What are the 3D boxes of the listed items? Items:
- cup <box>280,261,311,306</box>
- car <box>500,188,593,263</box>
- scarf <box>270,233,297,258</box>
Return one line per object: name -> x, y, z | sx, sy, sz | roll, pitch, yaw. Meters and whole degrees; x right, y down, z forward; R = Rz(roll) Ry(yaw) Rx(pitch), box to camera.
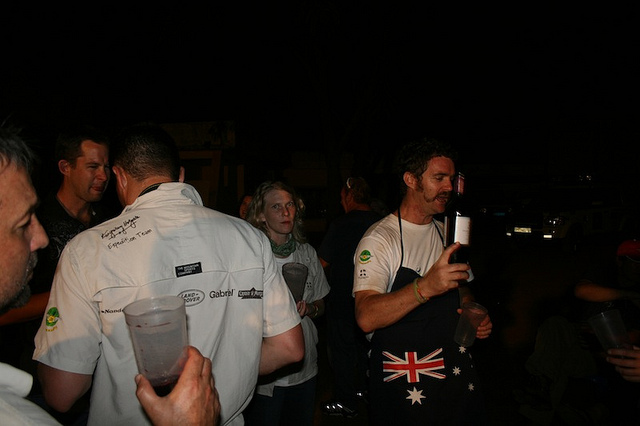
cup -> -0.360, 0.779, 5.224 | 0.400, 0.435, 0.395 | -7, -6, -1
car -> 8.239, 0.072, 15.492 | 4.036, 1.819, 2.170 | -11, 6, -20
scarf -> -0.418, 0.390, 5.880 | 0.360, 0.258, 0.263 | 0, 8, -17
